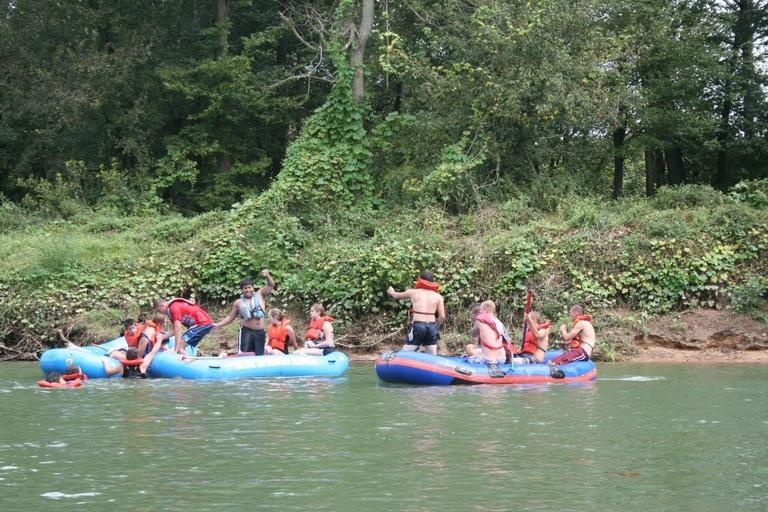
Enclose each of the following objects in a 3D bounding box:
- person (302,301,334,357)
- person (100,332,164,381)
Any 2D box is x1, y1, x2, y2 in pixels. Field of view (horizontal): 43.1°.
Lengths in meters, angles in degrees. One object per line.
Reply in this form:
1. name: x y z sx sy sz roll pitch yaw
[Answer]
1. person: -1.974 2.085 28.085 0.989 1.359 1.089 -5 7 -43
2. person: -6.995 2.732 27.269 1.461 0.952 2.032 0 17 5
